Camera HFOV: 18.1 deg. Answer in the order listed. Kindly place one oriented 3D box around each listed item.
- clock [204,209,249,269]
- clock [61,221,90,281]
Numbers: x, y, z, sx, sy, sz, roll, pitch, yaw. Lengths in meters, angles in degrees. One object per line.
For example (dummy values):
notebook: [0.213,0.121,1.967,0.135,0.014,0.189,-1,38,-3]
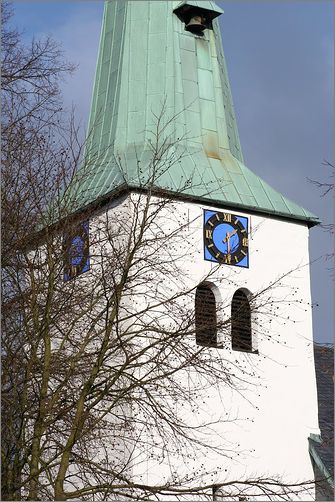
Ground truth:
clock: [1.240,-0.198,23.140,1.214,1.156,0.064,18,-33,-37]
clock: [-1.511,-0.001,17.042,0.047,1.161,1.053,1,-6,29]
